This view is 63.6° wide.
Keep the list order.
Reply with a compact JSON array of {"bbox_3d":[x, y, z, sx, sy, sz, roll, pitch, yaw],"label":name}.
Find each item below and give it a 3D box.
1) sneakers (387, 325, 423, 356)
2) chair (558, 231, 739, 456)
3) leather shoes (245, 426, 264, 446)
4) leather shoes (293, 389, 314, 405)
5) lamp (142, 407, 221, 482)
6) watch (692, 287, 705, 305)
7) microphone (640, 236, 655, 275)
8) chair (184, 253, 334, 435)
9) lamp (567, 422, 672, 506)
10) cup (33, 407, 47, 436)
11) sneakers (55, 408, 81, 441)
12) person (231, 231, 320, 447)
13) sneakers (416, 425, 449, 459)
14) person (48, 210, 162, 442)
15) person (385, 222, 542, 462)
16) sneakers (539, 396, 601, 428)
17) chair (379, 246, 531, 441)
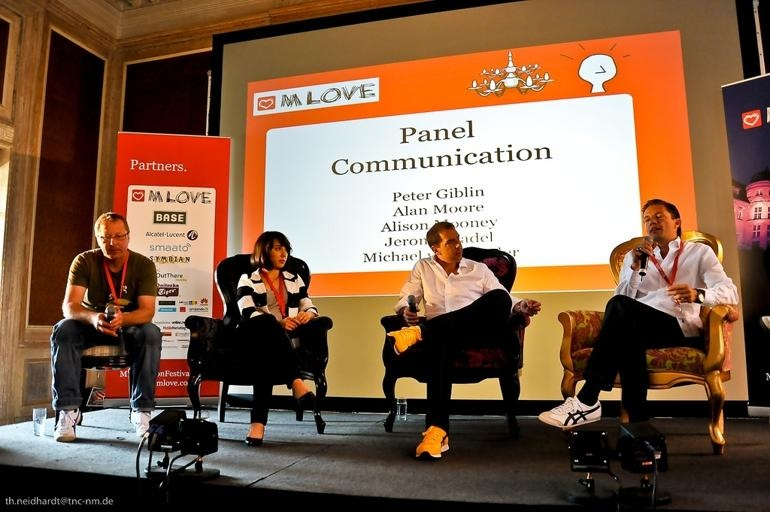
[{"bbox_3d":[0.118,0.542,4.146,0.206,0.172,0.081,-23,15,-36],"label":"sneakers"},{"bbox_3d":[1.965,0.658,4.491,1.153,1.488,0.904,-8,-29,29],"label":"chair"},{"bbox_3d":[-0.927,1.240,4.397,0.122,0.117,0.199,-1,1,-10],"label":"leather shoes"},{"bbox_3d":[-0.582,0.990,4.371,0.207,0.082,0.102,0,1,35],"label":"leather shoes"},{"bbox_3d":[-1.220,1.099,3.756,0.365,0.335,0.460,0,-4,14],"label":"lamp"},{"bbox_3d":[2.141,0.268,4.242,0.079,0.109,0.035,5,-11,-15],"label":"watch"},{"bbox_3d":[1.862,0.007,4.442,0.071,0.322,0.093,13,-32,10],"label":"microphone"},{"bbox_3d":[-0.966,0.596,4.990,1.049,1.362,1.039,-2,-6,7],"label":"chair"},{"bbox_3d":[1.340,1.124,3.649,0.457,0.411,0.473,-1,0,10],"label":"lamp"},{"bbox_3d":[-2.496,1.169,4.472,0.085,0.203,0.216,-1,1,-31],"label":"cup"},{"bbox_3d":[-2.266,1.166,4.408,0.164,0.215,0.288,-1,1,-27],"label":"sneakers"},{"bbox_3d":[-0.799,0.567,4.610,0.598,1.207,0.736,-1,1,-12],"label":"person"},{"bbox_3d":[0.325,1.212,4.117,0.155,0.173,0.376,0,0,27],"label":"sneakers"},{"bbox_3d":[-2.030,0.488,4.510,0.743,1.558,0.562,-1,0,-13],"label":"person"},{"bbox_3d":[0.485,0.550,4.391,0.954,1.584,0.748,-1,0,-7],"label":"person"},{"bbox_3d":[1.274,1.056,4.315,0.467,0.203,0.184,-2,-5,-9],"label":"sneakers"},{"bbox_3d":[0.577,0.558,4.827,1.038,1.372,0.876,-1,-7,14],"label":"chair"}]
